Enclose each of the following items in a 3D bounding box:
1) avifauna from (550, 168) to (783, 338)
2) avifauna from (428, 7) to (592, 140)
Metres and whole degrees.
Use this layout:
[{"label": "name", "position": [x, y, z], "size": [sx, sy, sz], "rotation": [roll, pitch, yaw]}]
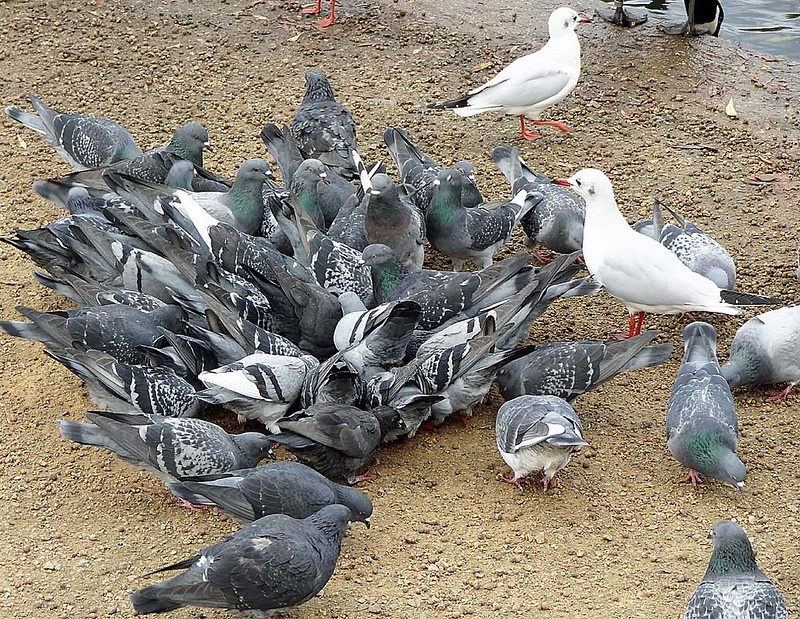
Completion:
[{"label": "avifauna", "position": [2.207, -0.334, 12.924], "size": [1.991, 1.351, 0.678], "rotation": [35, 61, 26]}, {"label": "avifauna", "position": [1.453, -2.437, 15.439], "size": [1.643, 1.223, 0.934], "rotation": [-37, 61, -27]}]
